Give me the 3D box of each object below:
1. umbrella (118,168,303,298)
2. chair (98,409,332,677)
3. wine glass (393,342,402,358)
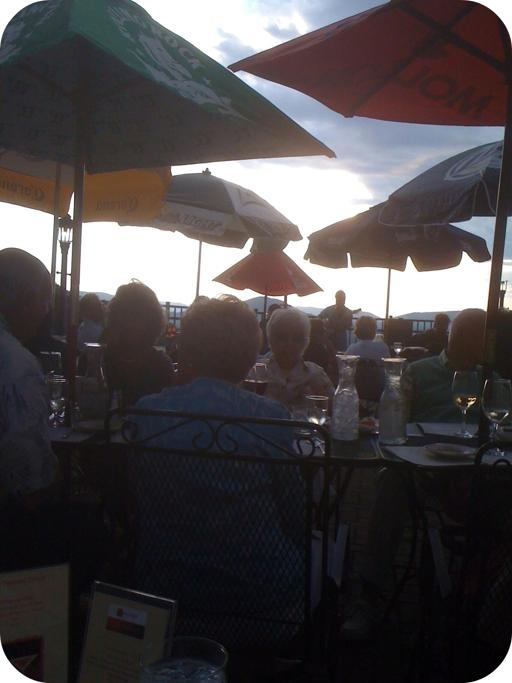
[{"bbox_3d":[-0.233,-0.972,5.134,1.177,1.022,1.245,4,2,-5],"label":"umbrella"},{"bbox_3d":[-0.081,0.425,1.877,0.606,0.870,0.641,7,25,9],"label":"chair"},{"bbox_3d":[1.187,0.076,5.348,0.079,0.148,0.088,-1,2,-21],"label":"wine glass"}]
